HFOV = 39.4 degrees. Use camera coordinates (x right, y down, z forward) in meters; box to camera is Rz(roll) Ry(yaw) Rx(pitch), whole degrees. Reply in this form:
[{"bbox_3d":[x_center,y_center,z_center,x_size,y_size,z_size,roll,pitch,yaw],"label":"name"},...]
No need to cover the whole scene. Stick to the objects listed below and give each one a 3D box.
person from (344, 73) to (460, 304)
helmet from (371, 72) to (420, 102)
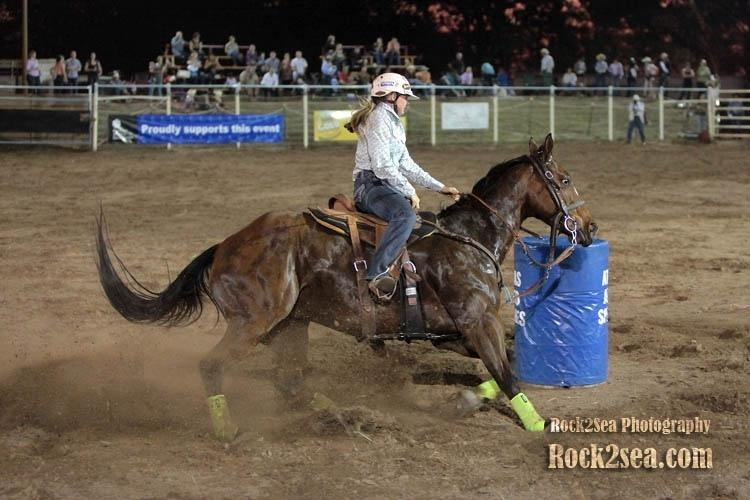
[{"bbox_3d":[0.220,-0.903,14.964,1.174,3.165,0.785,-1,8,-2],"label":"person"},{"bbox_3d":[0.239,-2.348,15.173,0.554,0.244,0.395,-3,7,-11],"label":"helmet"}]
